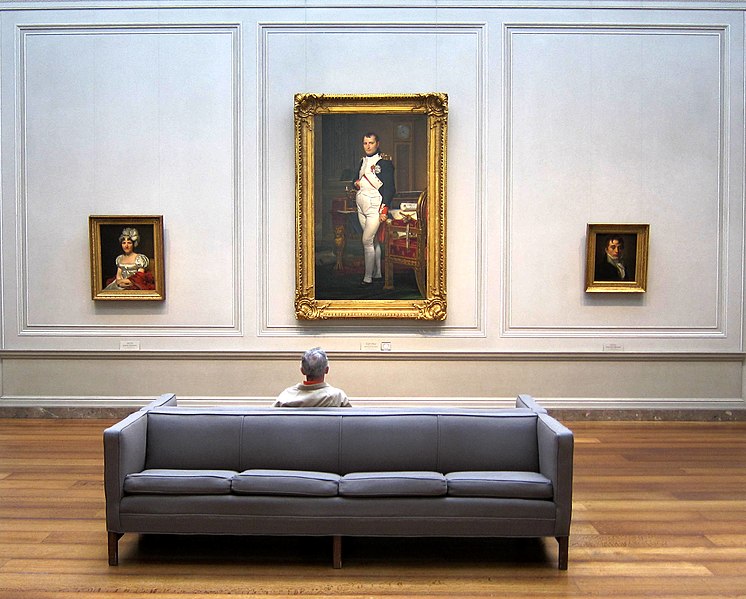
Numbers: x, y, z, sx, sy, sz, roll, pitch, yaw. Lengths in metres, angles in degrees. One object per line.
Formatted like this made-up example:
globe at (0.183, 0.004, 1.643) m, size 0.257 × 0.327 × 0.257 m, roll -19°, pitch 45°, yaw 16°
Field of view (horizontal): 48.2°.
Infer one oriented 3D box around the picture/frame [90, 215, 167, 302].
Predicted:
picture/frame at (-2.963, -0.518, 10.020) m, size 1.077 × 1.199 × 0.096 m, roll 0°, pitch 2°, yaw -1°

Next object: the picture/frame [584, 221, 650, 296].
picture/frame at (2.922, -0.498, 9.996) m, size 0.907 × 0.960 × 0.104 m, roll 1°, pitch 0°, yaw 0°
